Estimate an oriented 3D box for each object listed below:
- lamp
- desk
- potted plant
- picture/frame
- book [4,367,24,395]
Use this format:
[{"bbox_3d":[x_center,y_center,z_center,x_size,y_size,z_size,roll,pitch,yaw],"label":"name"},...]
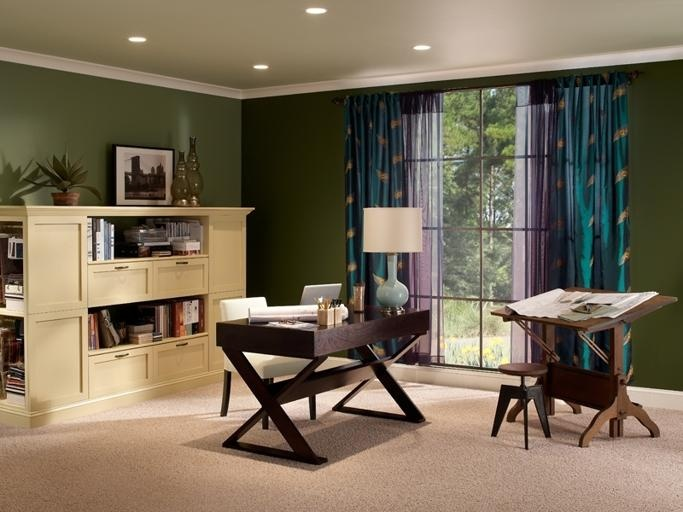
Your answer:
[{"bbox_3d":[0.418,0.015,4.747,0.473,0.814,0.424,0,6,4],"label":"lamp"},{"bbox_3d":[-0.142,0.910,4.447,0.832,0.988,1.489,5,8,43],"label":"desk"},{"bbox_3d":[-2.546,-0.664,5.216,0.473,0.406,0.569,2,-9,-18],"label":"potted plant"},{"bbox_3d":[-2.050,-0.826,5.926,0.031,0.620,0.704,1,0,35],"label":"picture/frame"},{"bbox_3d":[-2.700,1.021,4.792,0.247,0.228,0.053,3,7,32],"label":"book"}]
